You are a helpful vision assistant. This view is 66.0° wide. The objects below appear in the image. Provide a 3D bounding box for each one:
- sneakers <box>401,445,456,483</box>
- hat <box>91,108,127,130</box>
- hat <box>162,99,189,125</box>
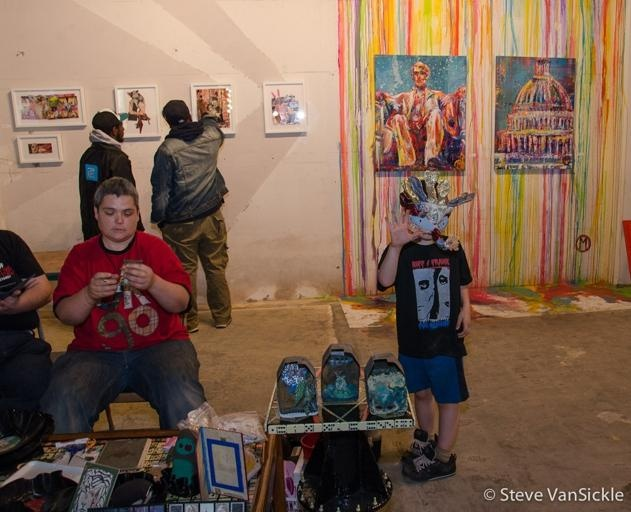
[{"bbox_3d":[0.548,1.024,2.431,0.259,0.162,0.137,1,7,-6],"label":"sneakers"},{"bbox_3d":[-1.732,-1.153,4.167,0.174,0.140,0.264,31,54,30],"label":"hat"},{"bbox_3d":[-1.173,-1.224,4.149,0.180,0.235,0.231,-4,36,-3],"label":"hat"}]
